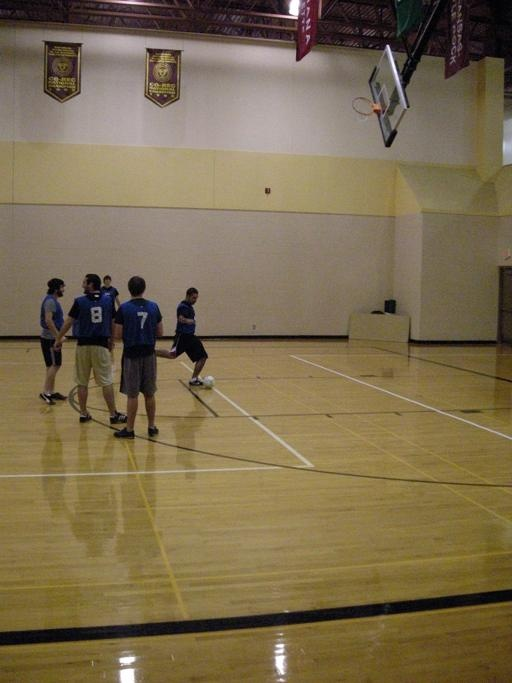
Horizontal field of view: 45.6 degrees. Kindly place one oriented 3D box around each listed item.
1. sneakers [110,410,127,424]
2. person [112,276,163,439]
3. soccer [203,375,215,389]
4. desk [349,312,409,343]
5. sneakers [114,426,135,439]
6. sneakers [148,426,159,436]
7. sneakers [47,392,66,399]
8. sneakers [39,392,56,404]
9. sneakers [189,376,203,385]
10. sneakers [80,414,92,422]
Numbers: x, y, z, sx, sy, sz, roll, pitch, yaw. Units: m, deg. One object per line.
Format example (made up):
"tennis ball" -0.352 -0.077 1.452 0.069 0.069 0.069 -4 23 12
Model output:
"sneakers" -1.385 0.765 6.161 0.092 0.094 0.209 1 5 5
"person" -1.053 0.158 5.419 0.401 1.455 0.652 0 4 -12
"soccer" -0.638 0.549 8.354 0.151 0.168 0.144 10 -32 -39
"desk" 3.091 -0.359 15.262 1.517 0.687 0.307 2 4 10
"sneakers" -1.179 0.828 5.517 0.217 0.098 0.076 4 -4 7
"sneakers" -0.956 0.837 5.682 0.047 0.053 0.127 1 3 2
"sneakers" -2.374 0.648 7.292 0.171 0.070 0.061 -1 6 -36
"sneakers" -2.447 0.677 7.175 0.089 0.124 0.245 24 14 -46
"sneakers" -0.830 0.558 8.529 0.085 0.086 0.192 3 -7 -33
"sneakers" -1.724 0.768 6.153 0.053 0.057 0.140 1 4 4
